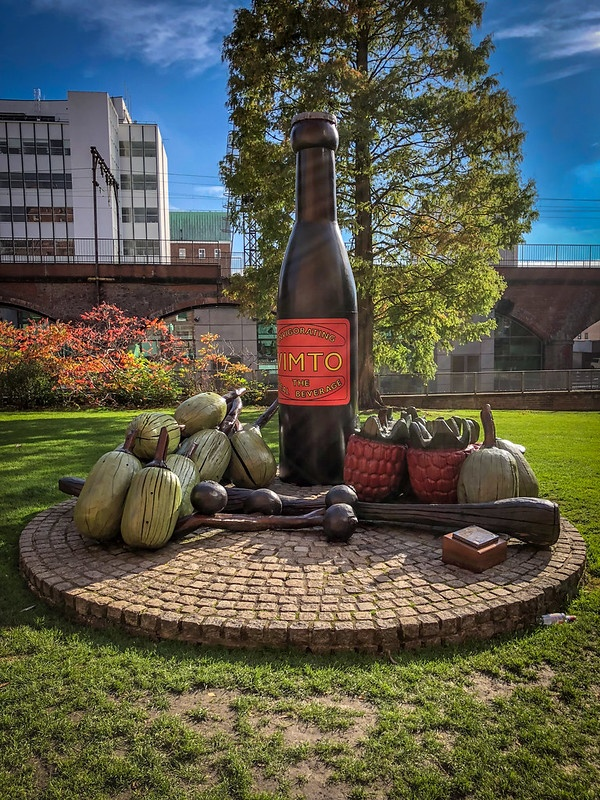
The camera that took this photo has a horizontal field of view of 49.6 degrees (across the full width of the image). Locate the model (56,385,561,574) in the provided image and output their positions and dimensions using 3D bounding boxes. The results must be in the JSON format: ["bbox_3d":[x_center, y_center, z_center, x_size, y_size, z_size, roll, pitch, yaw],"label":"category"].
[{"bbox_3d":[0.198,0.647,4.696,2.148,0.732,1.655,0,1,2],"label":"model"}]

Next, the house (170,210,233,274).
[{"bbox_3d":[-12.487,-16.984,69.901,5.437,6.509,7.453,22,24,35],"label":"house"}]
